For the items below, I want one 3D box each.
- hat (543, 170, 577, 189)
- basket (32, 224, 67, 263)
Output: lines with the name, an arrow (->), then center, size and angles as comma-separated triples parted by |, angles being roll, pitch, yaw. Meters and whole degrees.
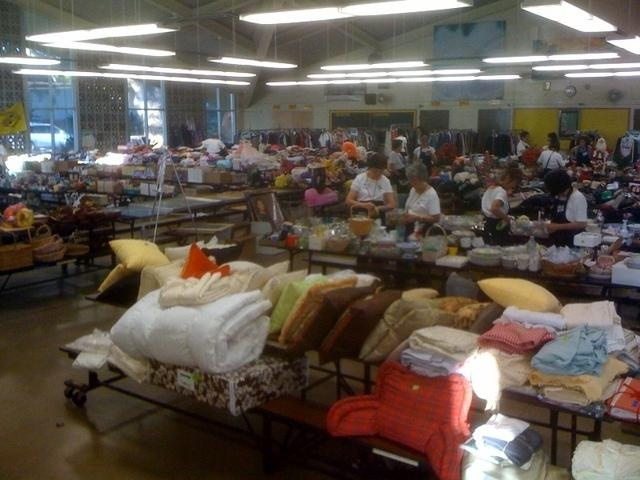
hat -> 2.744, -0.634, 5.523 | 0.327, 0.234, 0.224 | 0, 14, 1
basket -> -3.788, 0.109, 6.671 | 0.334, 0.509, 0.512 | -2, -1, 21
